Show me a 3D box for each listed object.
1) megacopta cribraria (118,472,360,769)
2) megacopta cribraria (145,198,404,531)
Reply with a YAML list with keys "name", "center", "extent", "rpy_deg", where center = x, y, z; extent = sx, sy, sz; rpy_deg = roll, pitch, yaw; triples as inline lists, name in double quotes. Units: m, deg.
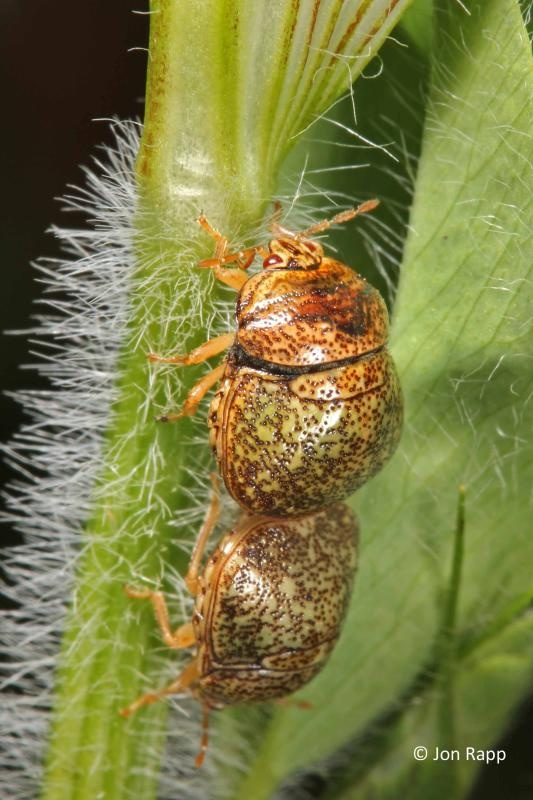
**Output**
- name: "megacopta cribraria"
  center: [-0.042, 0.220, 0.844]
  extent: [0.228, 0.219, 0.074]
  rpy_deg: [-60, 28, 14]
- name: "megacopta cribraria"
  center: [-0.010, -0.035, 0.814]
  extent: [0.271, 0.097, 0.263]
  rpy_deg: [-15, 94, -22]
